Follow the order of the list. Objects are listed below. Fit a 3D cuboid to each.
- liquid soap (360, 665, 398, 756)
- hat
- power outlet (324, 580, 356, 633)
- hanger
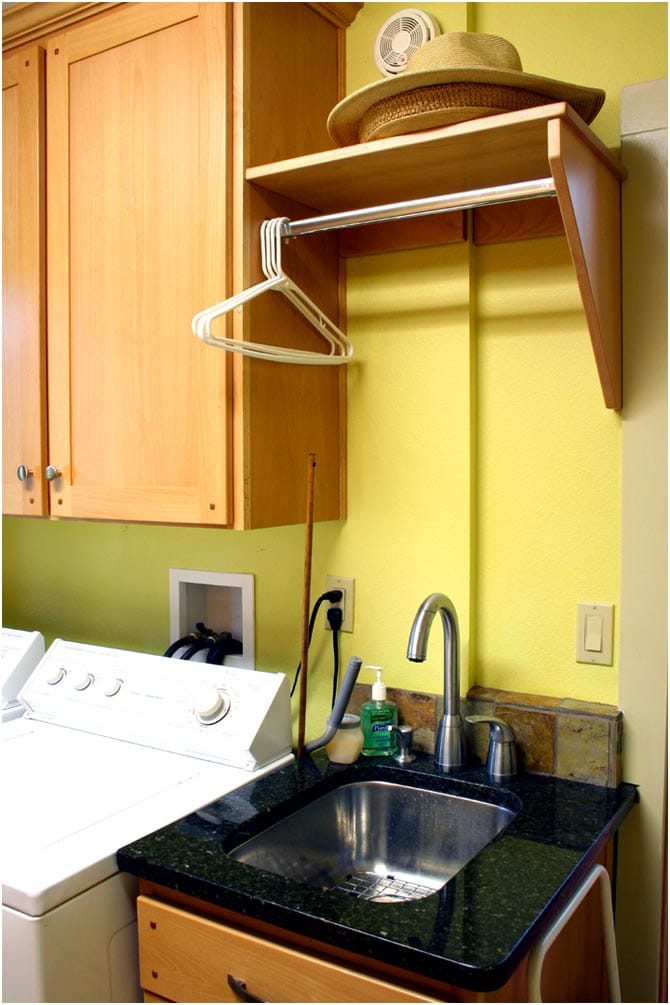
[{"bbox_3d":[0.086,0.389,1.645,0.073,0.143,0.138,1,5,5],"label":"liquid soap"},{"bbox_3d":[0.160,-0.585,1.256,0.250,0.095,0.251,2,13,37],"label":"hat"},{"bbox_3d":[0.013,0.212,1.770,0.015,0.148,0.100,-4,4,-40],"label":"power outlet"},{"bbox_3d":[-0.118,-0.366,1.506,0.027,0.207,0.288,3,5,33],"label":"hanger"}]
